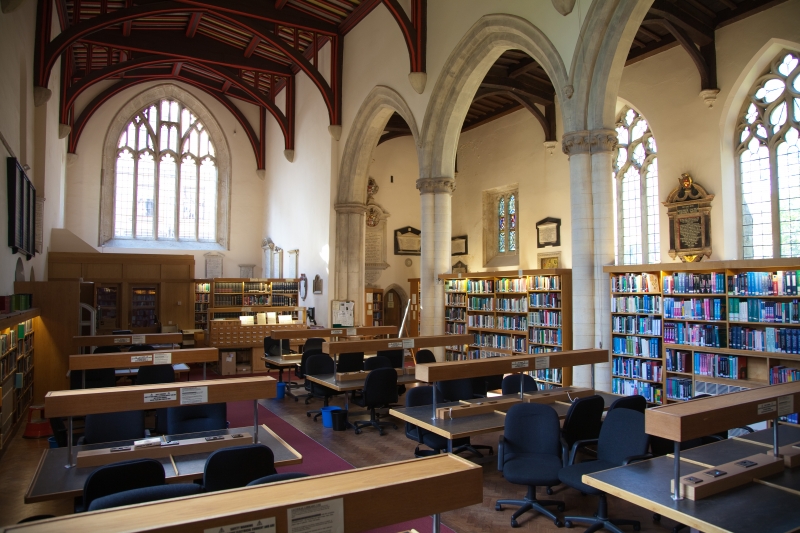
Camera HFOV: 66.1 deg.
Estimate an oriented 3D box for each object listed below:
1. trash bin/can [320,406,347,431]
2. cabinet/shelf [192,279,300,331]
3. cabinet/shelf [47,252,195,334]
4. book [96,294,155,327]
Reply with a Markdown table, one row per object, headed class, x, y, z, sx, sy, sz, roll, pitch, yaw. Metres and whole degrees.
| class | x | y | z | sx | sy | sz | roll | pitch | yaw |
| --- | --- | --- | --- | --- | --- | --- | --- | --- | --- |
| trash bin/can | -1.231 | 2.818 | 11.528 | 0.367 | 0.306 | 0.416 | 3 | -7 | -21 |
| cabinet/shelf | -4.799 | 1.095 | 19.210 | 3.277 | 1.539 | 1.997 | -2 | -2 | -13 |
| cabinet/shelf | -8.035 | 1.126 | 18.411 | 3.672 | 3.321 | 1.201 | 1 | 8 | -3 |
| book | -8.013 | 1.273 | 17.783 | 1.068 | 0.905 | 0.079 | 0 | 1 | -26 |
